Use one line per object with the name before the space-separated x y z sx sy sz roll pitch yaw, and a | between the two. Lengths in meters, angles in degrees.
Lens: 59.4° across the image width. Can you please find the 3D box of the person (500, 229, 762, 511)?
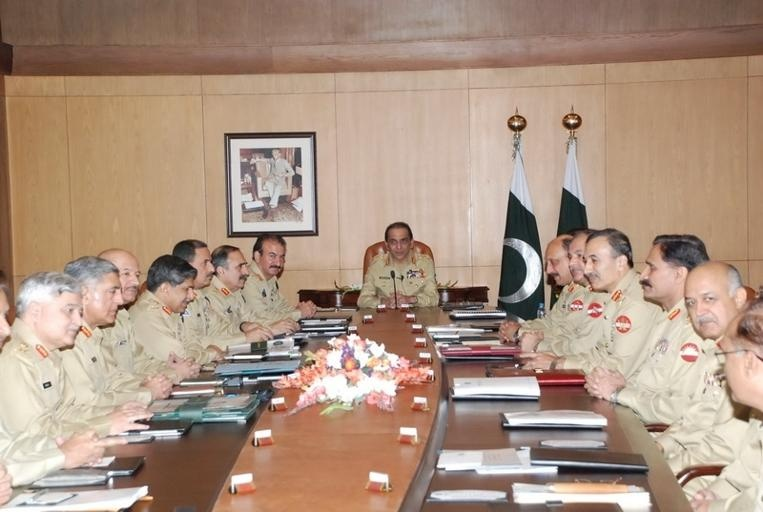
person | 1.532 0.397 4.373 1.140 1.645 1.017 1 1 6

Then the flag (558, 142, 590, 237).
flag | 2.226 -0.806 7.754 0.317 1.046 0.485 0 11 18

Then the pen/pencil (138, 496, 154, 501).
pen/pencil | -1.014 1.046 2.876 0.044 0.011 0.024 7 15 -19

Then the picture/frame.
picture/frame | -1.353 -0.899 7.984 1.211 1.437 0.075 -1 2 -5

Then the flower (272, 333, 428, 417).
flower | -0.212 0.635 3.575 0.501 0.206 0.520 -3 1 19

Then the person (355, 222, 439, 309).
person | 0.189 0.179 7.037 0.930 1.457 0.814 0 -3 -1
